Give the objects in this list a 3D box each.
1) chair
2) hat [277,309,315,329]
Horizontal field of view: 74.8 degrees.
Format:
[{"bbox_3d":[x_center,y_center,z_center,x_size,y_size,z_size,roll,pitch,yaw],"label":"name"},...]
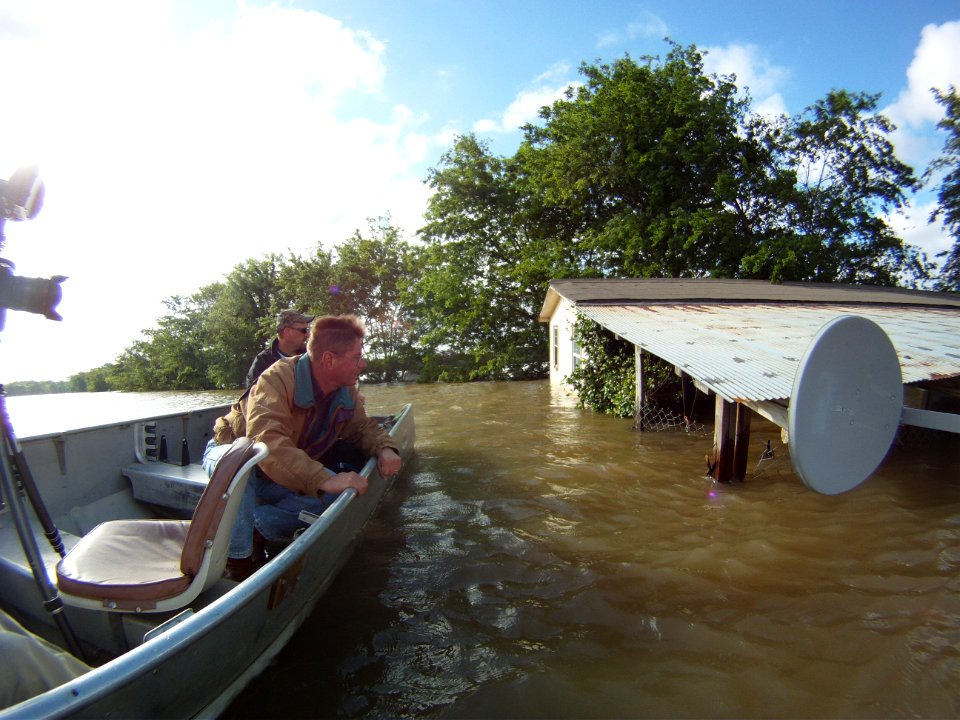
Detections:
[{"bbox_3d":[-1.874,0.932,3.640,1.019,0.859,0.879,7,7,-17],"label":"chair"},{"bbox_3d":[-1.921,-0.345,6.525,0.403,0.220,0.257,-7,13,-30],"label":"hat"}]
